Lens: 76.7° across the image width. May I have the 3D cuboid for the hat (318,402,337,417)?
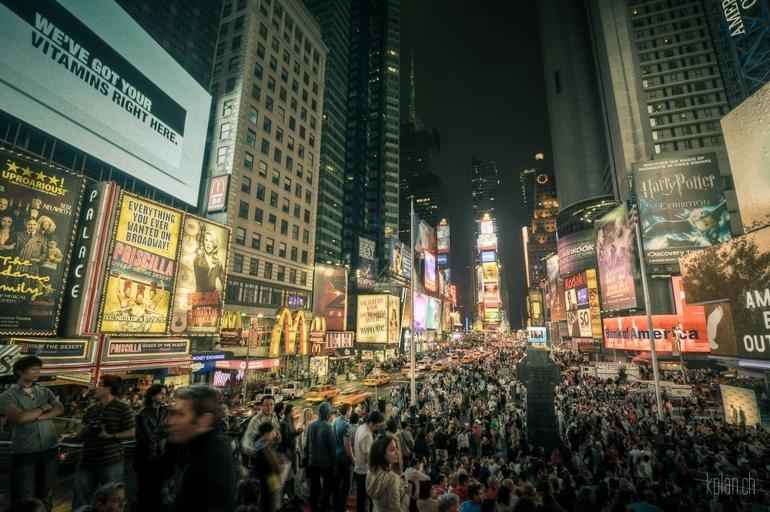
[{"bbox_3d":[-3.552,8.969,28.491,0.698,0.920,0.619,1,-17,-7],"label":"hat"}]

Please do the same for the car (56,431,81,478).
[{"bbox_3d":[-20.095,12.613,30.985,1.847,2.460,1.244,-17,-22,42],"label":"car"}]
